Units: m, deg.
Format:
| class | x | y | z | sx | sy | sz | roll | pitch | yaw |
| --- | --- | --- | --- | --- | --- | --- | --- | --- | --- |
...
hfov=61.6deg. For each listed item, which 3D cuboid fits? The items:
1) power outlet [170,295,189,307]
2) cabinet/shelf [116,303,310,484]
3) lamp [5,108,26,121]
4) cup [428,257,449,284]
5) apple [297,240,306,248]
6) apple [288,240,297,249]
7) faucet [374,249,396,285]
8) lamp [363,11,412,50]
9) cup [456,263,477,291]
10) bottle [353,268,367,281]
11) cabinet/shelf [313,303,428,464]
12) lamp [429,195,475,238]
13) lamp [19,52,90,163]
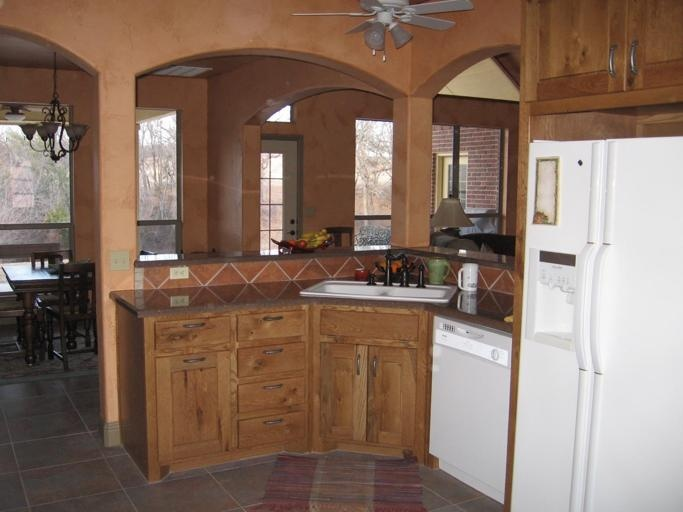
| class | x | y | z | sx | sy | sz | roll | pitch | yaw |
| --- | --- | --- | --- | --- | --- | --- | --- | --- | --- |
| power outlet | -1.089 | 0.305 | 3.838 | 0.083 | 0.050 | 0.081 | 0 | 10 | -13 |
| cabinet/shelf | -0.868 | 0.870 | 4.119 | 1.183 | 1.104 | 0.695 | -1 | 2 | -30 |
| lamp | -4.131 | -1.800 | 7.229 | 0.186 | 0.194 | 0.705 | -4 | 10 | -30 |
| cup | 0.766 | 0.117 | 4.475 | 0.246 | 0.207 | 0.134 | -6 | 10 | -36 |
| apple | -0.337 | -0.097 | 4.830 | 0.052 | 0.062 | 0.053 | 12 | 22 | -27 |
| apple | -0.423 | -0.096 | 4.871 | 0.061 | 0.041 | 0.074 | 1 | 12 | 0 |
| faucet | 0.328 | 0.091 | 4.443 | 0.192 | 0.282 | 0.121 | 6 | -2 | -20 |
| lamp | 0.280 | -1.464 | 3.759 | 0.306 | 0.175 | 0.308 | 2 | 17 | 11 |
| cup | 0.871 | 0.143 | 3.963 | 0.121 | 0.176 | 0.227 | 3 | 9 | 18 |
| bottle | 0.155 | 0.146 | 4.644 | 0.096 | 0.088 | 0.142 | 0 | 8 | -3 |
| cabinet/shelf | 0.220 | 0.846 | 4.173 | 0.817 | 1.111 | 0.525 | 2 | 5 | 10 |
| lamp | 1.393 | -0.453 | 7.349 | 0.564 | 0.530 | 0.543 | -1 | 4 | 6 |
| lamp | -3.447 | -1.792 | 6.887 | 0.777 | 1.163 | 0.703 | 0 | 7 | 22 |
